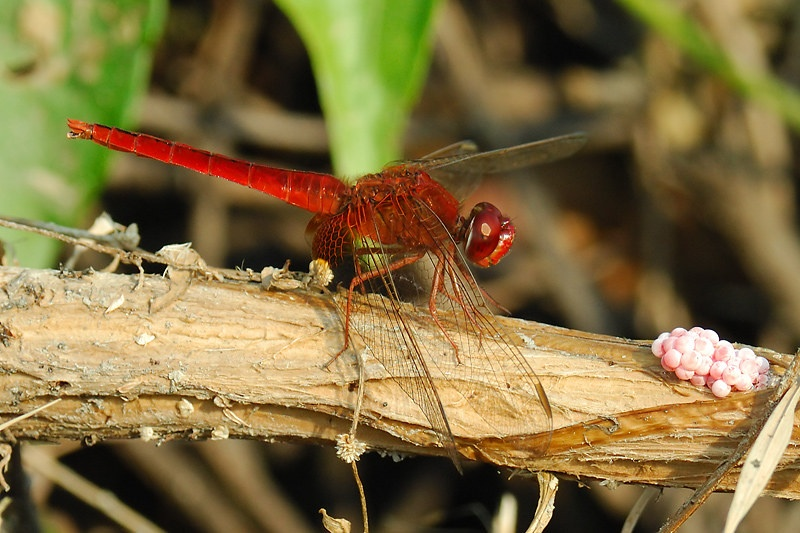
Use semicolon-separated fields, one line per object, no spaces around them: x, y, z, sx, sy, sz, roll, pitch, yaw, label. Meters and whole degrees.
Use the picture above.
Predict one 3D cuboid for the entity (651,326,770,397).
0.979;0.296;3.752;0.328;0.185;0.129;16;-16;8;entity
